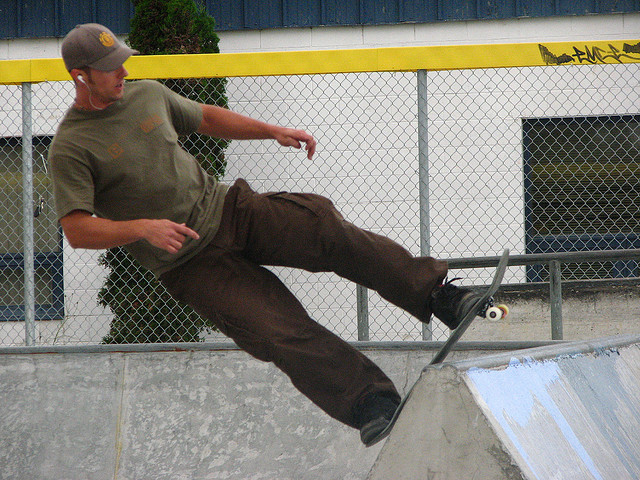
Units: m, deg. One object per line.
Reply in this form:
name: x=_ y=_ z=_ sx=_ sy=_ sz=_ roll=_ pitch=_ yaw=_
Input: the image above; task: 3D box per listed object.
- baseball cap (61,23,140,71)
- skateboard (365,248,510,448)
baseball cap: x=-1.494 y=-1.285 z=7.863 sx=0.563 sy=0.273 sz=0.370 roll=6 pitch=32 yaw=36
skateboard: x=0.785 y=0.711 z=7.833 sx=0.234 sy=1.474 sz=0.399 roll=38 pitch=-6 yaw=14
